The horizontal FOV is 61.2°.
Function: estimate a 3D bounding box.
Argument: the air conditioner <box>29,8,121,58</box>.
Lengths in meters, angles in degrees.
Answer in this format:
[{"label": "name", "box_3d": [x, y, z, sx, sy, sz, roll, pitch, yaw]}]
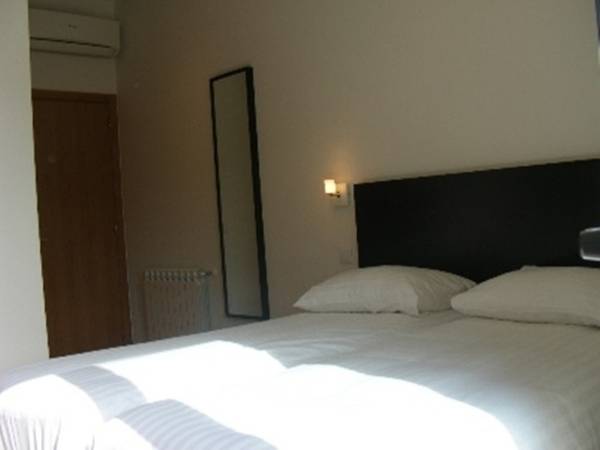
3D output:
[{"label": "air conditioner", "box_3d": [-2.288, -1.975, 5.192, 0.866, 0.393, 0.118, -4, 7, -35]}]

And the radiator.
[{"label": "radiator", "box_3d": [-1.204, 0.756, 4.953, 0.421, 0.790, 0.721, -1, 0, -38]}]

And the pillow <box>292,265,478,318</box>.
[{"label": "pillow", "box_3d": [0.610, 0.342, 3.326, 1.167, 0.311, 0.847, -5, -2, 31]}]
